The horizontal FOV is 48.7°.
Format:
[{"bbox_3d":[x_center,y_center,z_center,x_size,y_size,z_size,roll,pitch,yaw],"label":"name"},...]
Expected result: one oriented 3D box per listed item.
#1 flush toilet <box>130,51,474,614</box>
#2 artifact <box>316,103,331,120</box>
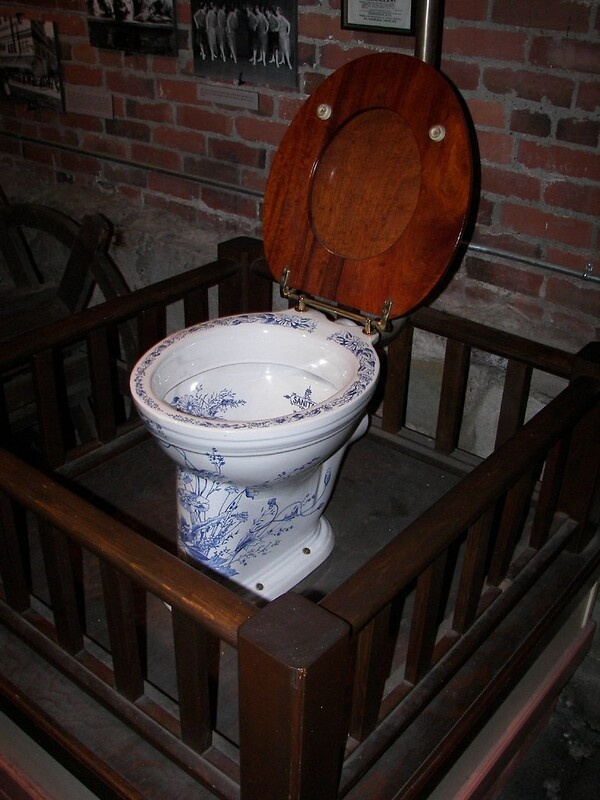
[{"bbox_3d":[-0.027,-0.086,1.090,0.405,0.805,0.543,26,40,35],"label":"flush toilet"},{"bbox_3d":[0.040,-0.494,1.141,0.009,0.025,0.026,5,-4,-43],"label":"artifact"}]
